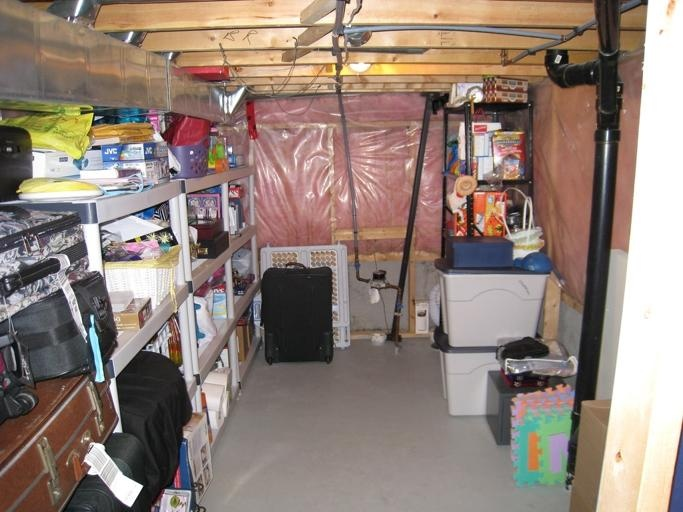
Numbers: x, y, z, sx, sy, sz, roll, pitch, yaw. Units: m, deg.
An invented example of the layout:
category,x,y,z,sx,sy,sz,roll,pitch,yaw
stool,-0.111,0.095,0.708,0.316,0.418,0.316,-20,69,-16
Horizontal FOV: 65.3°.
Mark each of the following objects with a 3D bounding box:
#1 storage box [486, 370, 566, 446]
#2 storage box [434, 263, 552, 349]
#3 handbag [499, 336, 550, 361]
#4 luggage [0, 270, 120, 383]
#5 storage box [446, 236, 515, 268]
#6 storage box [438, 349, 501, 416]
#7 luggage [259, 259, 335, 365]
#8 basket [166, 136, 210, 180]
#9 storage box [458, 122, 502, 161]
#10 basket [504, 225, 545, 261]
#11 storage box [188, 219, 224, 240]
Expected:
category,x,y,z,sx,sy,sz,roll,pitch,yaw
storage box,1.203,1.037,3.606,0.442,0.474,0.444,1,6,3
storage box,1.083,0.360,3.924,0.659,0.534,0.526,0,6,2
handbag,1.207,0.615,3.547,0.213,0.075,0.163,-7,8,5
luggage,-0.888,0.227,1.734,0.243,0.298,0.408,-24,10,-6
storage box,0.965,-0.012,3.809,0.264,0.140,0.278,0,9,-2
storage box,0.908,0.918,3.973,0.458,0.483,0.433,-1,5,3
luggage,-0.407,0.499,4.955,0.672,0.972,0.391,0,18,-2
basket,-0.971,-0.608,3.370,0.170,0.232,0.323,-1,15,2
storage box,1.078,-0.890,4.138,0.299,0.319,0.174,1,21,8
basket,1.349,-0.114,3.943,0.240,0.159,0.233,-11,2,-33
storage box,-0.977,-0.190,3.780,0.141,0.072,0.213,0,16,0
